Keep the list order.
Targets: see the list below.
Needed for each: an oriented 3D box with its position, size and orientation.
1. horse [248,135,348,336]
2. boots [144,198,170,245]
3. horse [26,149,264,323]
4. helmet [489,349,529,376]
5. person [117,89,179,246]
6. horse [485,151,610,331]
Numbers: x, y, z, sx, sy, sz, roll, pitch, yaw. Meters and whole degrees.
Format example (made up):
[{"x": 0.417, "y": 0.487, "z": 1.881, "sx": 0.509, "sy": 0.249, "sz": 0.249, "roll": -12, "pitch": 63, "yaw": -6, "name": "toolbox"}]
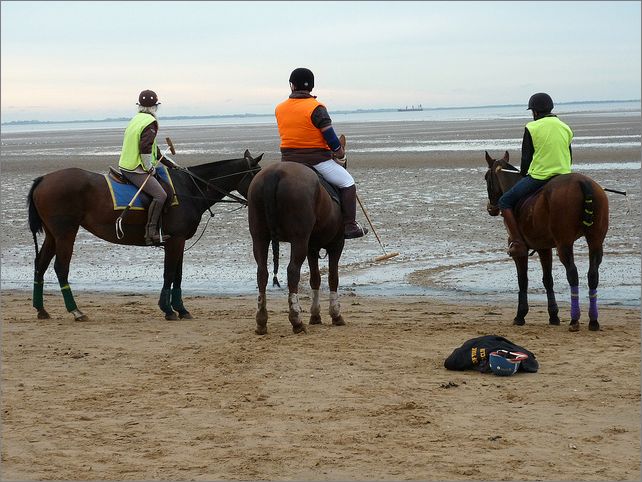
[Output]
[{"x": -0.349, "y": 0.084, "z": 16.787, "sx": 0.971, "sy": 2.558, "sz": 1.480, "roll": 0, "pitch": 8, "yaw": 27, "name": "horse"}, {"x": -2.688, "y": -0.277, "z": 17.818, "sx": 0.330, "sy": 0.745, "sz": 0.245, "roll": -5, "pitch": 7, "yaw": -11, "name": "boots"}, {"x": -3.013, "y": 0.048, "z": 19.160, "sx": 4.000, "sy": 2.290, "sz": 1.072, "roll": 0, "pitch": -6, "yaw": -8, "name": "horse"}, {"x": 2.448, "y": 1.620, "z": 14.753, "sx": 0.437, "sy": 0.181, "sz": 0.337, "roll": -1, "pitch": 1, "yaw": 9, "name": "helmet"}, {"x": -2.828, "y": -1.145, "z": 17.790, "sx": 0.822, "sy": 2.492, "sz": 1.124, "roll": -4, "pitch": 7, "yaw": -8, "name": "person"}, {"x": 3.579, "y": 0.113, "z": 17.712, "sx": 1.146, "sy": 2.574, "sz": 3.388, "roll": -3, "pitch": 2, "yaw": -21, "name": "horse"}]
